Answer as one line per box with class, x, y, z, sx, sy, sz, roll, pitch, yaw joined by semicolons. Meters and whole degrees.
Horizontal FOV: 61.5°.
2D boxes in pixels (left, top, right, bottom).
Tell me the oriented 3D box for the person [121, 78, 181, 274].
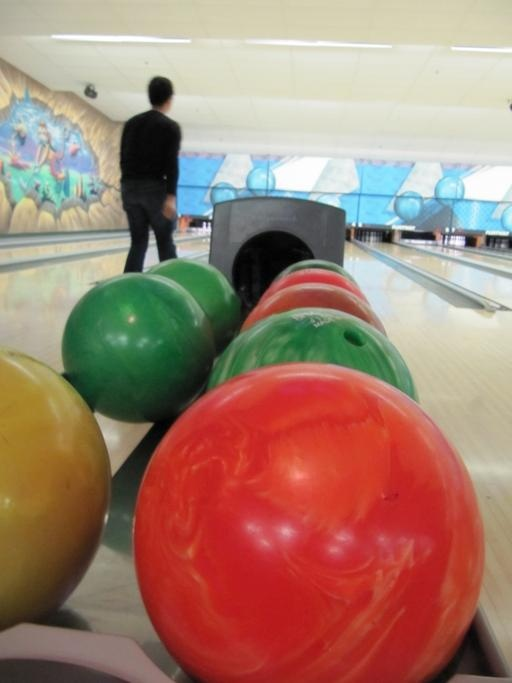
person;-0.622;-0.999;2.562;0.352;1.187;0.553;1;14;-18
